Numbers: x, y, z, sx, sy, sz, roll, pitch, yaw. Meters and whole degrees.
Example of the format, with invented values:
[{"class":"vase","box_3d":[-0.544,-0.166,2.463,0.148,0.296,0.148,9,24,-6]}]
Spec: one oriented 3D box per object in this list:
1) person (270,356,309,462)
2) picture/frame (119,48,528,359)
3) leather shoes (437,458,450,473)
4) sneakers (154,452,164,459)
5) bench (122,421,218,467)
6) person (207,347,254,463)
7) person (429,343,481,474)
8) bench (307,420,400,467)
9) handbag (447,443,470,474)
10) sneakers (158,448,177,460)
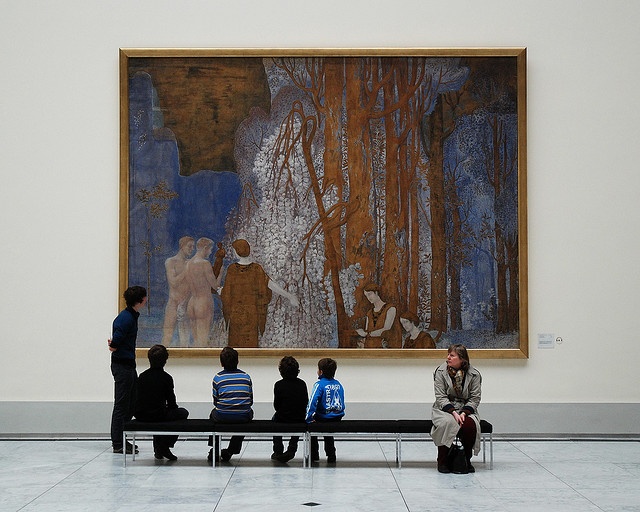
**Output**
[{"class":"person","box_3d":[-0.465,2.404,14.670,0.549,1.674,0.425,0,7,-2]},{"class":"picture/frame","box_3d":[0.282,-0.735,16.726,5.358,4.003,0.189,-1,-2,5]},{"class":"leather shoes","box_3d":[1.890,3.199,14.381,0.176,0.169,0.181,1,7,9]},{"class":"sneakers","box_3d":[-2.546,3.139,14.946,0.123,0.092,0.123,1,0,-14]},{"class":"bench","box_3d":[-2.313,2.856,15.022,1.523,0.730,1.338,-1,7,-8]},{"class":"person","box_3d":[-1.411,2.338,14.778,0.685,1.822,0.626,-1,7,-11]},{"class":"person","box_3d":[2.110,2.342,14.584,0.754,1.821,0.761,1,7,7]},{"class":"bench","box_3d":[0.590,2.864,15.190,1.440,0.807,1.745,1,7,4]},{"class":"handbag","box_3d":[2.087,3.106,14.574,0.327,0.578,0.591,1,-7,-8]},{"class":"sneakers","box_3d":[-2.407,3.127,14.899,0.319,0.260,0.127,-1,2,-12]}]
